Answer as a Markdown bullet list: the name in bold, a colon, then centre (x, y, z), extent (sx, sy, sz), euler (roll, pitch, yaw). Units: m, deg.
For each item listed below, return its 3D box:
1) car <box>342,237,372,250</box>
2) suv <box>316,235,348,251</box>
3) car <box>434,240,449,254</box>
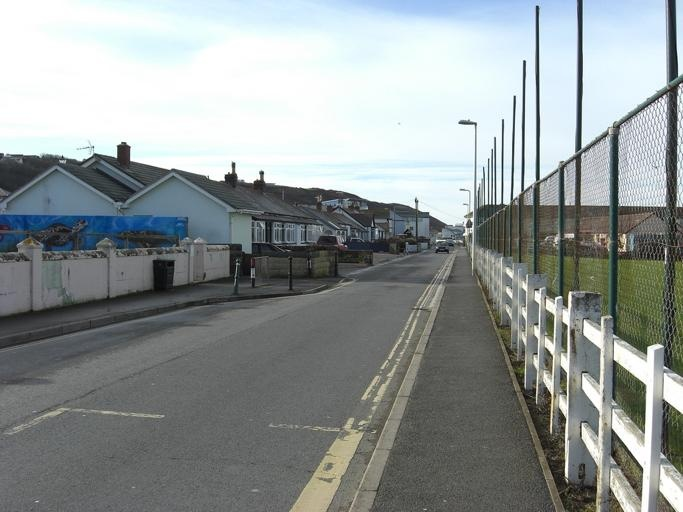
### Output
- **car**: centre (1.833, -1.249, 82.613), extent (2.498, 1.450, 1.685), euler (-2, 6, 5)
- **suv**: centre (-1.047, -0.943, 59.236), extent (1.395, 1.300, 2.549), euler (1, 4, 13)
- **car**: centre (12.609, -1.209, 89.802), extent (1.494, 1.562, 3.031), euler (-2, -3, 5)
